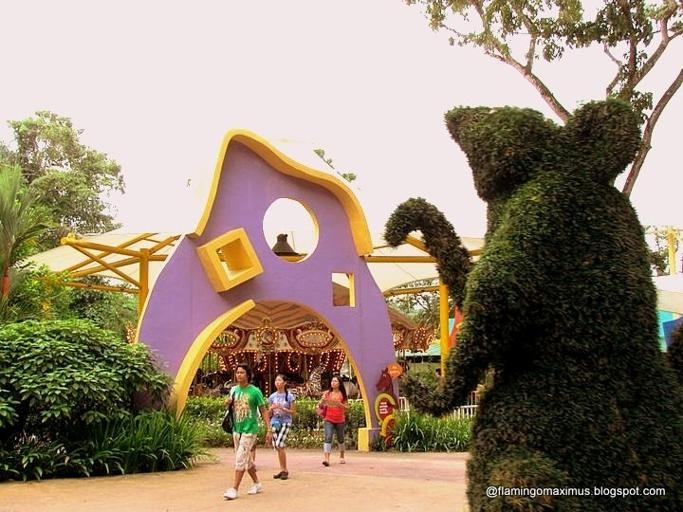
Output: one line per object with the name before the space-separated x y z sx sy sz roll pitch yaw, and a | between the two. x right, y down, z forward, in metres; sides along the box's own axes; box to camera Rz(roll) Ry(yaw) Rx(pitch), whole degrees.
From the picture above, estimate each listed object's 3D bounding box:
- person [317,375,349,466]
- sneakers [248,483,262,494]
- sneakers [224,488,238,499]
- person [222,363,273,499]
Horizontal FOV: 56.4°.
person | -0.194 3.479 13.546 0.603 1.874 0.958 2 -16 0
sneakers | -1.375 3.726 10.170 0.106 0.113 0.281 -10 -24 12
sneakers | -1.685 3.590 9.618 0.178 0.160 0.147 3 -16 -3
person | -1.554 2.891 10.532 0.697 2.024 1.538 4 -16 -8
